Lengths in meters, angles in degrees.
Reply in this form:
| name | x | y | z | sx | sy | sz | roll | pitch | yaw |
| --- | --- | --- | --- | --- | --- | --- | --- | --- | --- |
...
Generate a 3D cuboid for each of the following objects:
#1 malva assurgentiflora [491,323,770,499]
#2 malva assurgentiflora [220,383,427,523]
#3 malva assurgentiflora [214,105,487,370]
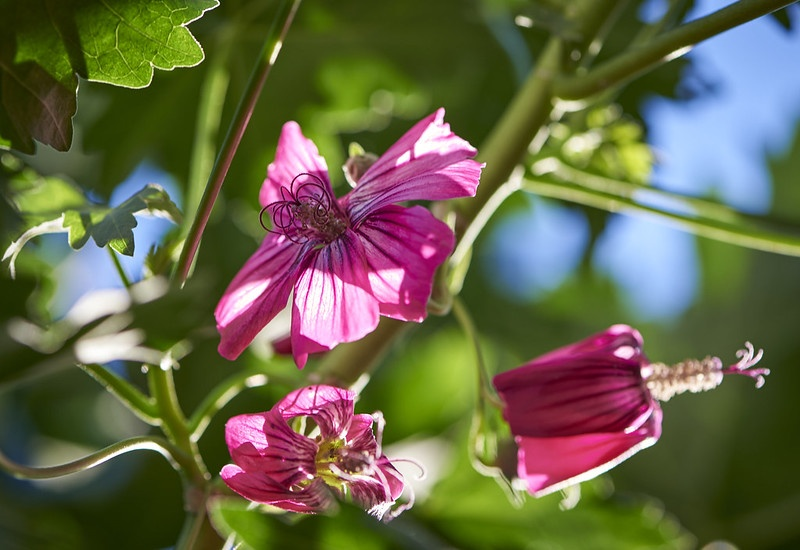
| name | x | y | z | sx | sy | sz | roll | pitch | yaw |
| --- | --- | --- | --- | --- | --- | --- | --- | --- | --- |
| malva assurgentiflora | 0.258 | 0.156 | 0.962 | 0.269 | 0.172 | 0.110 | -15 | -25 | -8 |
| malva assurgentiflora | -0.090 | 0.195 | 0.897 | 0.183 | 0.149 | 0.074 | 33 | -14 | -26 |
| malva assurgentiflora | -0.093 | -0.058 | 0.916 | 0.262 | 0.110 | 0.254 | 21 | -21 | -3 |
